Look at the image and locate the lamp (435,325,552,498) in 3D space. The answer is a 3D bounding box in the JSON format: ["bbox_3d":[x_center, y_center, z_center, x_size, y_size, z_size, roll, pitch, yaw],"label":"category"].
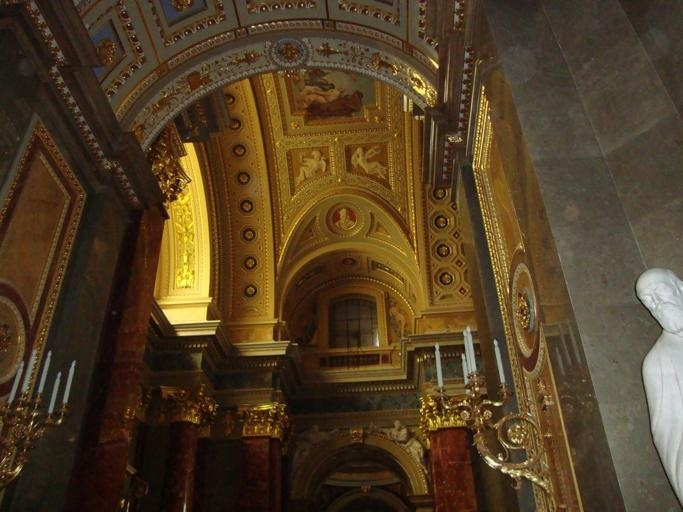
[{"bbox_3d":[0.949,0.996,3.409,0.546,1.043,0.536,-11,-26,20],"label":"lamp"}]
